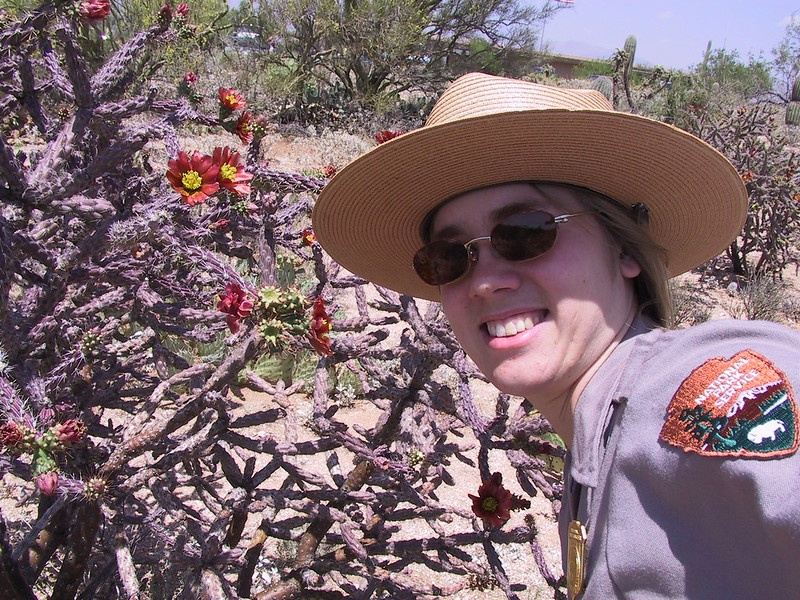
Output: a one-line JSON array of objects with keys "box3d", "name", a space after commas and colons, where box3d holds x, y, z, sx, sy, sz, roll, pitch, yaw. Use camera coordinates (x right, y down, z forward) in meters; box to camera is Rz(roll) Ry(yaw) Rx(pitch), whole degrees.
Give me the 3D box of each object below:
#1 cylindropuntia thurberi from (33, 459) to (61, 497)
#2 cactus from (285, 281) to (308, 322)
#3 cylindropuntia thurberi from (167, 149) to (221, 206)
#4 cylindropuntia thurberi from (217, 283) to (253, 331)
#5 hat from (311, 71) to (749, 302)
[{"box3d": [-1.265, 0.625, 2.379, 0.071, 0.112, 0.104, -3, 6, -33], "name": "cylindropuntia thurberi"}, {"box3d": [-0.350, -0.001, 2.299, 0.069, 0.101, 0.262, 0, 5, -7], "name": "cactus"}, {"box3d": [-0.875, -0.526, 2.835, 0.225, 0.230, 0.232, 1, 5, -2], "name": "cylindropuntia thurberi"}, {"box3d": [-0.526, 0.013, 2.239, 0.126, 0.156, 0.077, -10, 1, 32], "name": "cylindropuntia thurberi"}, {"box3d": [0.427, -0.395, 2.045, 0.971, 0.284, 0.918, 6, -29, -11], "name": "hat"}]
